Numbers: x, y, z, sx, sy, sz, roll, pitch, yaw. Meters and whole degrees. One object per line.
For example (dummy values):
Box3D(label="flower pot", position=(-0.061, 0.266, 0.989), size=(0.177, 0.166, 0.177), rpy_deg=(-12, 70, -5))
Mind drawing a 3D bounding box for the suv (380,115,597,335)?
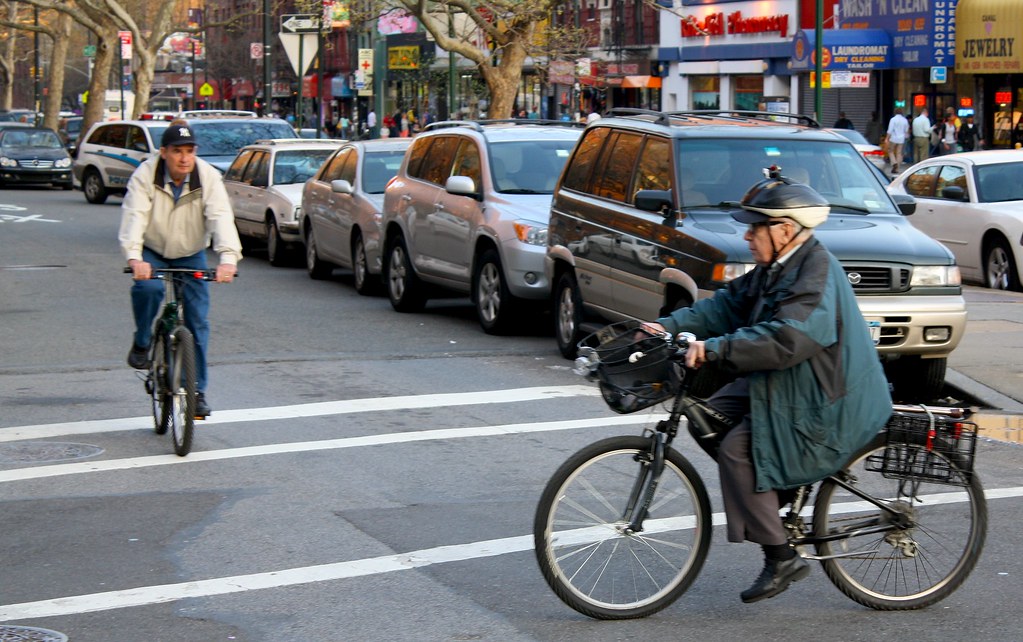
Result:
Box3D(label="suv", position=(-0.019, -1.312, 16.147), size=(2.126, 1.470, 3.371), rpy_deg=(0, 3, -29))

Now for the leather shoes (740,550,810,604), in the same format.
Box3D(label="leather shoes", position=(1.514, 1.450, 7.321), size=(0.459, 0.198, 0.142), rpy_deg=(-26, 22, 11))

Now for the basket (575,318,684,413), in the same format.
Box3D(label="basket", position=(0.737, 0.305, 7.222), size=(0.649, 0.427, 0.233), rpy_deg=(-11, -30, -10))

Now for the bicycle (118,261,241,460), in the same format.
Box3D(label="bicycle", position=(-2.564, 0.280, 10.034), size=(0.500, 1.406, 1.167), rpy_deg=(-3, 12, -18))

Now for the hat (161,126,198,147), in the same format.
Box3D(label="hat", position=(-2.583, -1.434, 10.047), size=(0.249, 0.161, 0.295), rpy_deg=(-2, 11, -10))

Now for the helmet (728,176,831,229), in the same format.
Box3D(label="helmet", position=(1.509, -0.682, 7.183), size=(0.566, 0.199, 0.331), rpy_deg=(1, 22, 0))

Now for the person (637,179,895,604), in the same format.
Box3D(label="person", position=(1.492, 0.393, 7.153), size=(1.171, 2.418, 0.674), rpy_deg=(4, 13, 16))
